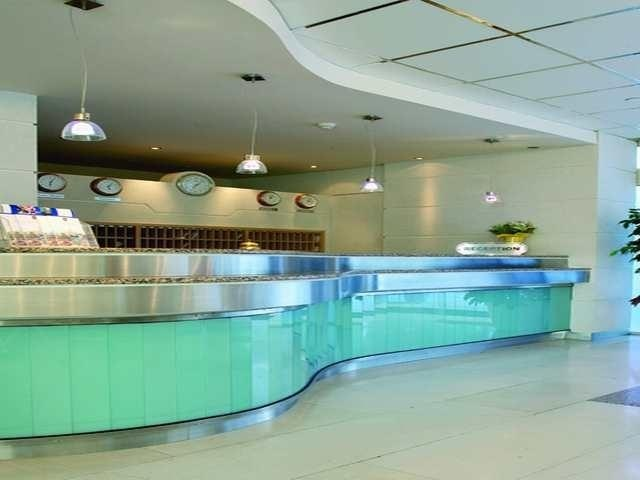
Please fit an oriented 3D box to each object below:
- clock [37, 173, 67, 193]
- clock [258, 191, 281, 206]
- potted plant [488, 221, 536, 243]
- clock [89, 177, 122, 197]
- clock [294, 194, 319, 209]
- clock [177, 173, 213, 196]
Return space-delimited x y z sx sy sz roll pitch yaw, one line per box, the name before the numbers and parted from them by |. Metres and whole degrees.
clock | -4.593 -0.975 8.714 0.525 0.304 0.117 1 2 -40
clock | -1.104 -0.904 11.230 0.560 0.344 0.205 -1 -4 -45
potted plant | 3.502 -0.139 9.136 0.713 0.198 0.519 0 -3 1
clock | -3.861 -0.963 9.244 0.510 0.298 0.116 2 -2 -36
clock | -0.298 -0.886 11.830 0.169 0.349 0.617 -6 -4 45
clock | -2.445 -1.116 10.180 0.745 0.449 0.276 -1 -3 -38
